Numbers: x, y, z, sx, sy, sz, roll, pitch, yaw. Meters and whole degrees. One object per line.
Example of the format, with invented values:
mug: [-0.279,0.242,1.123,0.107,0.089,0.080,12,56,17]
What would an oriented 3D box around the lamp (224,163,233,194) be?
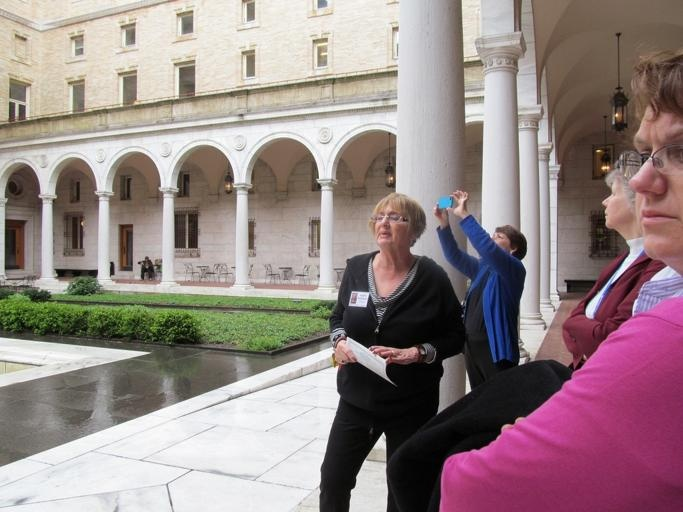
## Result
lamp: [-4.847,-3.304,28.324,0.402,1.176,1.605,-2,-2,-11]

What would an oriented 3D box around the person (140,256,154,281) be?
person: [-8.758,0.547,29.812,0.523,1.068,0.964,-2,-2,-14]

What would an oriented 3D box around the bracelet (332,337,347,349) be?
bracelet: [-0.031,0.651,4.949,0.095,0.087,0.073,5,-3,41]

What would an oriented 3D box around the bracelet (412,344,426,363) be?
bracelet: [0.572,0.705,4.798,0.108,0.096,0.087,25,-6,-16]

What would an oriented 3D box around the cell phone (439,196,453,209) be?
cell phone: [0.858,-0.433,5.436,0.112,0.103,0.025,5,-13,26]
